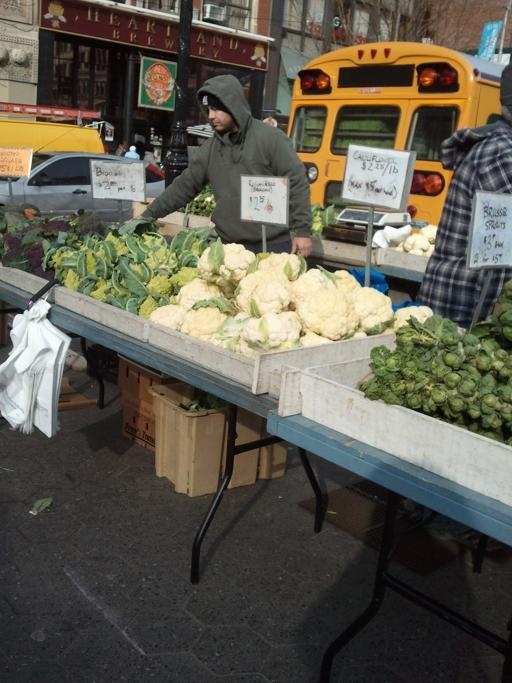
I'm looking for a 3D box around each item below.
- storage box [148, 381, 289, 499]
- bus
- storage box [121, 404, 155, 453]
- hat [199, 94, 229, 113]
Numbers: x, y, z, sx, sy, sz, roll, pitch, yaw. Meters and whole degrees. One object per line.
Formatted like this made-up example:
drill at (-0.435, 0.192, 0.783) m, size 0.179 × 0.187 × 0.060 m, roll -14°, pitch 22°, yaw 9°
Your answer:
storage box at (-0.300, 0.618, 3.373) m, size 0.635 × 0.513 × 0.854 m, roll -5°, pitch 17°, yaw -34°
bus at (2.454, -2.884, 7.593) m, size 2.377 × 2.127 × 3.728 m, roll 16°, pitch 25°, yaw 35°
storage box at (-0.867, 0.651, 3.820) m, size 0.228 × 0.262 × 0.390 m, roll -9°, pitch 14°, yaw -43°
hat at (-0.267, -1.465, 3.181) m, size 0.106 × 0.067 × 0.132 m, roll 8°, pitch 21°, yaw 3°
